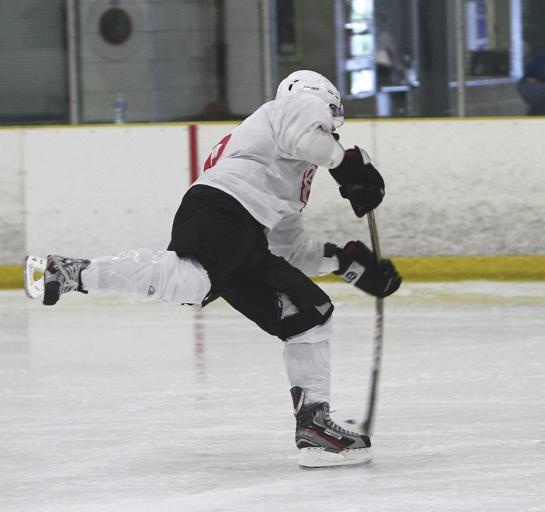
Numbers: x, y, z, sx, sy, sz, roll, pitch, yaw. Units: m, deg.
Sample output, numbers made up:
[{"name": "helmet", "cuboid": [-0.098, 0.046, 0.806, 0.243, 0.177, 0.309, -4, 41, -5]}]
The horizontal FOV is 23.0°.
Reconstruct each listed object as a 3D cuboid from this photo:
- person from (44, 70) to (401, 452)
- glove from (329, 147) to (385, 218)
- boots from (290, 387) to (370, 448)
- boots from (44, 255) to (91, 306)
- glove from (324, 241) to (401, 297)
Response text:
[{"name": "person", "cuboid": [-0.098, -0.012, 5.082, 1.111, 1.370, 0.699, 2, 14, 12]}, {"name": "glove", "cuboid": [0.336, -0.290, 5.132, 0.210, 0.266, 0.115, -35, 5, 6]}, {"name": "boots", "cuboid": [0.219, 0.622, 4.962, 0.374, 0.234, 0.118, 9, -5, -24]}, {"name": "boots", "cuboid": [-0.720, 0.083, 4.905, 0.208, 0.174, 0.123, 7, 8, 17]}, {"name": "glove", "cuboid": [0.386, 0.062, 5.772, 0.399, 0.121, 0.170, 27, 19, 10]}]
